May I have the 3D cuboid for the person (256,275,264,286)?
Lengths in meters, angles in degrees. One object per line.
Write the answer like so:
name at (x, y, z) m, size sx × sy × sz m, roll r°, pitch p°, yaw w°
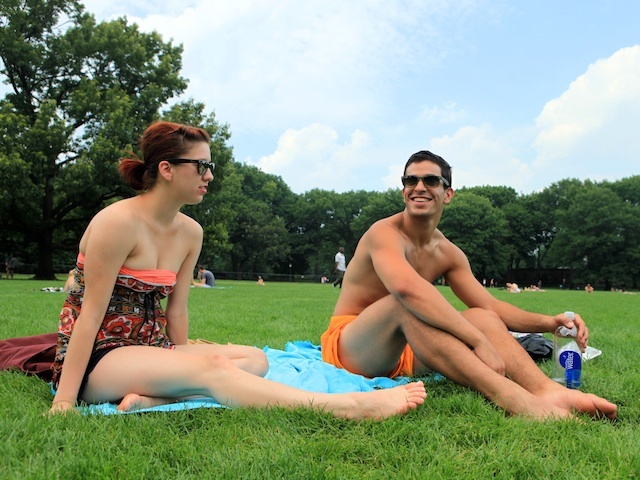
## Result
person at (-4.443, 2.933, 44.455) m, size 0.594 × 1.197 × 1.964 m, roll 0°, pitch -5°, yaw -4°

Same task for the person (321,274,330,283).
person at (0.481, 3.558, 55.523) m, size 0.802 × 1.050 × 0.555 m, roll 0°, pitch -5°, yaw 0°

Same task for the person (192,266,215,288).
person at (-4.836, 1.576, 25.131) m, size 0.857 × 1.012 × 1.264 m, roll 5°, pitch -2°, yaw -40°
